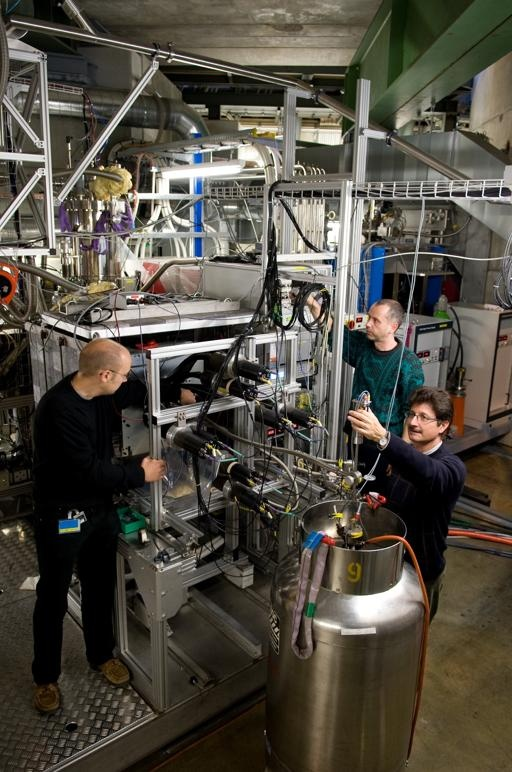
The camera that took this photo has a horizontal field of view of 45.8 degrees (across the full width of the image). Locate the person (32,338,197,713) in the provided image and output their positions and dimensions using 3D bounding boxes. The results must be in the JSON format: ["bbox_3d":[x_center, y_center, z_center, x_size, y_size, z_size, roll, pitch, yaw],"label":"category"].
[{"bbox_3d":[-0.682,0.566,2.543,0.513,1.565,0.471,-2,13,-21],"label":"person"}]

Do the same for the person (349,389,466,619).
[{"bbox_3d":[0.576,0.502,2.374,0.411,0.972,0.544,7,13,20],"label":"person"}]

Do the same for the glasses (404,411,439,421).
[{"bbox_3d":[0.640,0.113,2.321,0.058,0.017,0.057,26,-13,-32],"label":"glasses"}]

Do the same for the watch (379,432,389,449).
[{"bbox_3d":[0.449,0.187,2.114,0.035,0.053,0.044,5,12,11],"label":"watch"}]
